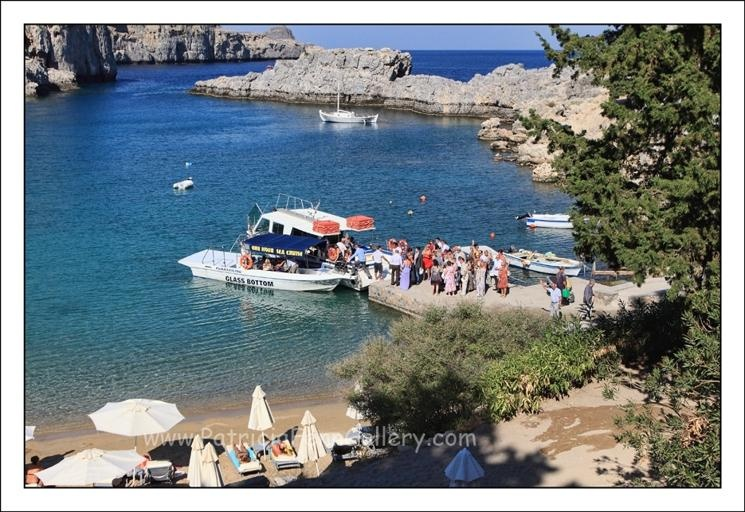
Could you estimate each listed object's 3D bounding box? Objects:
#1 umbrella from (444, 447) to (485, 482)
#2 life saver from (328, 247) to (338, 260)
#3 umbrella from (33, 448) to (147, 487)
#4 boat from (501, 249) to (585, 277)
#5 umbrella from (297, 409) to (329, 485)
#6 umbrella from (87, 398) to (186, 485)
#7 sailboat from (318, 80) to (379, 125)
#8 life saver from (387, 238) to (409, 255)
[{"bbox_3d":[2.797,6.595,20.832,1.141,0.678,0.996,2,10,16],"label":"umbrella"},{"bbox_3d":[-2.410,-0.144,40.055,0.559,0.754,0.282,2,-9,16],"label":"life saver"},{"bbox_3d":[-9.635,7.257,22.811,3.109,0.889,1.286,-8,17,-19],"label":"umbrella"},{"bbox_3d":[10.606,0.422,41.667,3.934,1.012,1.828,19,30,38],"label":"boat"},{"bbox_3d":[-2.408,7.144,24.774,1.107,2.241,1.255,-9,28,-5],"label":"umbrella"},{"bbox_3d":[-8.537,6.568,24.662,2.152,1.430,2.081,11,10,26],"label":"umbrella"},{"bbox_3d":[-5.132,-29.244,126.234,9.591,6.487,29.377,-4,16,-3],"label":"sailboat"},{"bbox_3d":[1.429,-0.521,39.461,0.625,0.688,2.092,16,13,-8],"label":"life saver"}]
